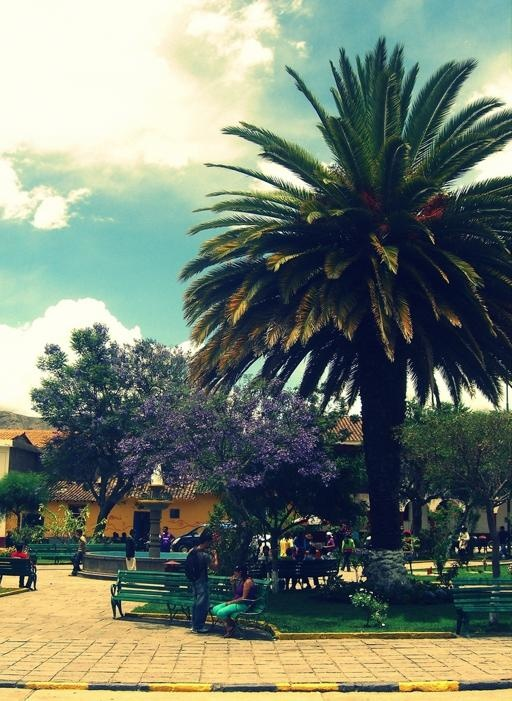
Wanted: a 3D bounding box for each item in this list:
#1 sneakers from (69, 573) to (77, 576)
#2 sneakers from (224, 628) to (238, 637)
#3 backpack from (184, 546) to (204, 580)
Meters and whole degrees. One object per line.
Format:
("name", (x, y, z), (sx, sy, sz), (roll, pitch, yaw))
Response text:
("sneakers", (-6.190, 7.502, 24.207), (0.224, 0.077, 0.070), (5, -22, 0))
("sneakers", (-0.395, 4.470, 11.467), (0.103, 0.107, 0.279), (2, 2, 26))
("backpack", (-1.033, 3.520, 11.860), (0.302, 0.535, 0.317), (5, -17, -17))
